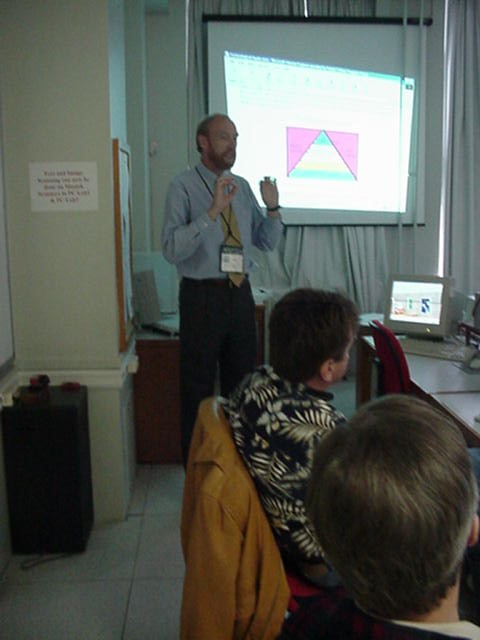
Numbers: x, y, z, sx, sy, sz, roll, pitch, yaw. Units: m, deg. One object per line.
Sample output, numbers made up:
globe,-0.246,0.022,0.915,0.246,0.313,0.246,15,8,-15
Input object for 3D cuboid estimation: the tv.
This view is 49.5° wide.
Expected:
tv,0.915,-0.077,2.699,0.371,0.553,0.216,5,1,42
